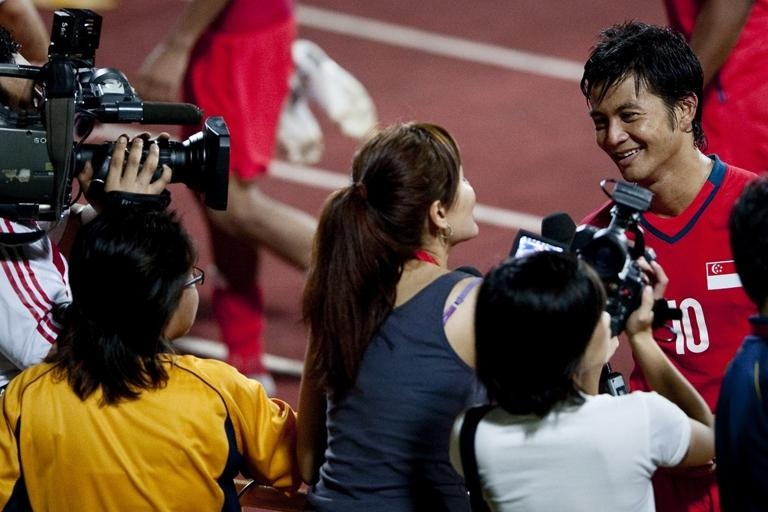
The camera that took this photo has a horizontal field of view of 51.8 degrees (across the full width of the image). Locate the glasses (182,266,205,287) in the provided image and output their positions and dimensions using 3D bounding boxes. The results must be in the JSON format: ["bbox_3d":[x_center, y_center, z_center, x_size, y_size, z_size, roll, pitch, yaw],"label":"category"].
[{"bbox_3d":[-0.513,0.064,2.130,0.056,0.019,0.058,-10,9,-4],"label":"glasses"}]

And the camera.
[{"bbox_3d":[0.567,-0.016,2.195,0.315,0.427,0.487,10,2,-21],"label":"camera"}]

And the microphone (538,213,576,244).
[{"bbox_3d":[0.543,-0.077,2.455,0.094,0.152,0.083,-4,7,33],"label":"microphone"}]
